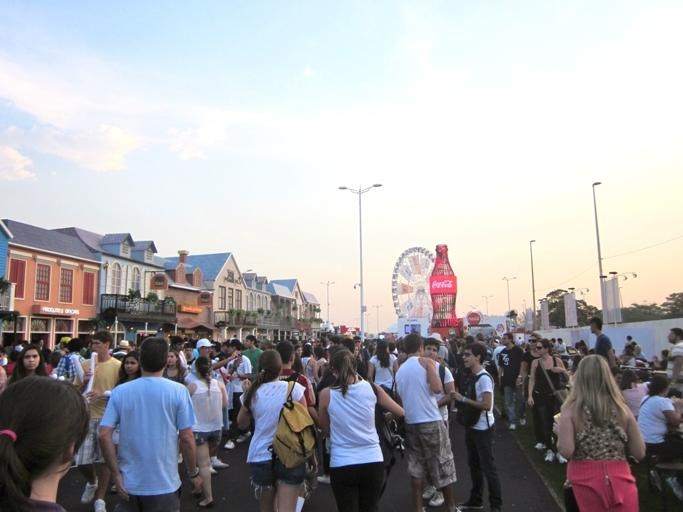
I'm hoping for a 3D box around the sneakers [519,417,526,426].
[{"bbox_3d":[4.961,4.500,14.331,0.127,0.116,0.259,-5,2,9],"label":"sneakers"}]

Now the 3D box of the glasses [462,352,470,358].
[{"bbox_3d":[1.823,1.430,7.621,0.082,0.131,0.104,6,-7,-8],"label":"glasses"}]

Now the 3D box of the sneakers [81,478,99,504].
[{"bbox_3d":[-3.794,3.530,7.916,0.204,0.304,0.313,4,-10,-25],"label":"sneakers"}]

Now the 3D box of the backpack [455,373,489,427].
[{"bbox_3d":[1.915,2.081,7.632,0.489,0.793,0.322,-3,-9,16],"label":"backpack"}]

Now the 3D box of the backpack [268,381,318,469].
[{"bbox_3d":[-0.550,1.843,5.778,0.447,0.844,0.516,0,0,28],"label":"backpack"}]
